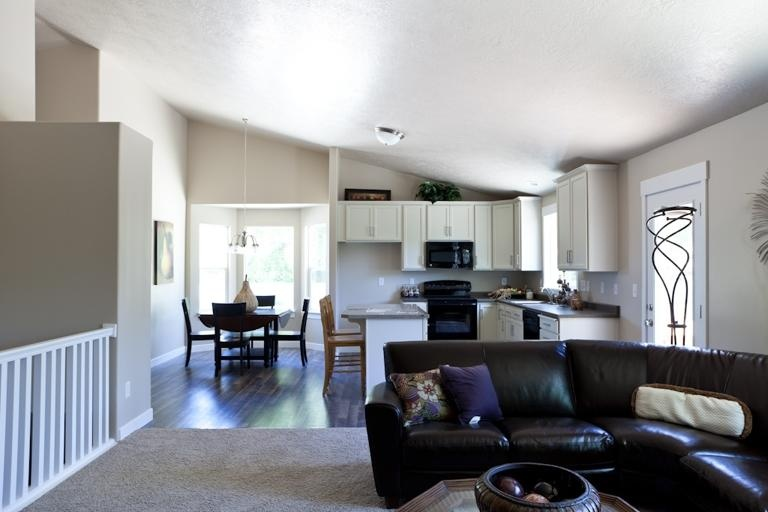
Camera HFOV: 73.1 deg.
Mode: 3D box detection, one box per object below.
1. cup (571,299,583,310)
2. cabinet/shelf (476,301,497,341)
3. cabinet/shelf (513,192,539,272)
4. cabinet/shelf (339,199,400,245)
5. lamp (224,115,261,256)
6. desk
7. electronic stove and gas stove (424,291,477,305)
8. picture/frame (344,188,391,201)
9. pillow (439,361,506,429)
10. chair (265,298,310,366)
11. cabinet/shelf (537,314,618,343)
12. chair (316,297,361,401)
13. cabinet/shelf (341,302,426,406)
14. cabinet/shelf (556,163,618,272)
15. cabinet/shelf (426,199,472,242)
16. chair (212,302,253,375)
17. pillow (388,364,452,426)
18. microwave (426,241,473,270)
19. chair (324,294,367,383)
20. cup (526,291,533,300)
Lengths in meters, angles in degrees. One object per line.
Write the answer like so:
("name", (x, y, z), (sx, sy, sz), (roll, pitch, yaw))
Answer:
("cup", (2.410, 0.608, 6.501), (0.134, 0.083, 0.126), (-1, -1, 0))
("cabinet/shelf", (1.593, 1.005, 7.989), (0.294, 0.571, 0.086), (-1, -1, -13))
("cabinet/shelf", (2.190, -0.334, 7.973), (0.374, 1.119, 0.312), (1, -4, -7))
("cabinet/shelf", (-0.086, -0.525, 8.359), (1.023, 0.646, 0.528), (2, 3, 19))
("lamp", (-2.241, -1.092, 8.401), (0.695, 2.226, 0.639), (4, 6, 10))
("desk", (-1.925, 1.243, 7.768), (1.476, 0.702, 1.432), (-2, -4, 14))
("electronic stove and gas stove", (1.034, 0.672, 8.093), (0.778, 0.155, 0.701), (-1, -1, 7))
("picture/frame", (-0.260, -0.980, 8.275), (0.731, 0.216, 0.229), (-1, -1, -12))
("pillow", (0.779, 1.191, 4.508), (0.597, 0.469, 0.300), (11, -12, -43))
("chair", (-1.394, 1.165, 7.843), (0.623, 0.919, 0.563), (0, -5, -4))
("cabinet/shelf", (2.301, 0.862, 6.139), (0.558, 0.323, 0.529), (1, -3, 7))
("chair", (-0.597, 1.284, 6.969), (0.481, 0.875, 1.199), (-1, 0, -2))
("cabinet/shelf", (-0.030, 1.237, 6.414), (1.085, 1.184, 1.355), (-4, -3, -3))
("cabinet/shelf", (2.379, -0.435, 6.231), (0.354, 0.886, 0.751), (0, -1, -31))
("cabinet/shelf", (0.999, -0.525, 8.378), (0.820, 0.655, 0.417), (-1, 5, -13))
("chair", (-2.174, 1.157, 7.336), (0.562, 0.962, 0.652), (-1, -3, -7))
("pillow", (0.343, 1.148, 4.279), (0.434, 0.385, 0.134), (-6, -24, -21))
("microwave", (1.033, -0.015, 8.181), (0.722, 0.406, 0.423), (1, -6, -1))
("chair", (-0.511, 1.109, 6.964), (0.590, 1.005, 1.448), (-1, -1, -3))
("cup", (2.229, 0.611, 7.981), (0.112, 0.151, 0.164), (0, -1, 9))
